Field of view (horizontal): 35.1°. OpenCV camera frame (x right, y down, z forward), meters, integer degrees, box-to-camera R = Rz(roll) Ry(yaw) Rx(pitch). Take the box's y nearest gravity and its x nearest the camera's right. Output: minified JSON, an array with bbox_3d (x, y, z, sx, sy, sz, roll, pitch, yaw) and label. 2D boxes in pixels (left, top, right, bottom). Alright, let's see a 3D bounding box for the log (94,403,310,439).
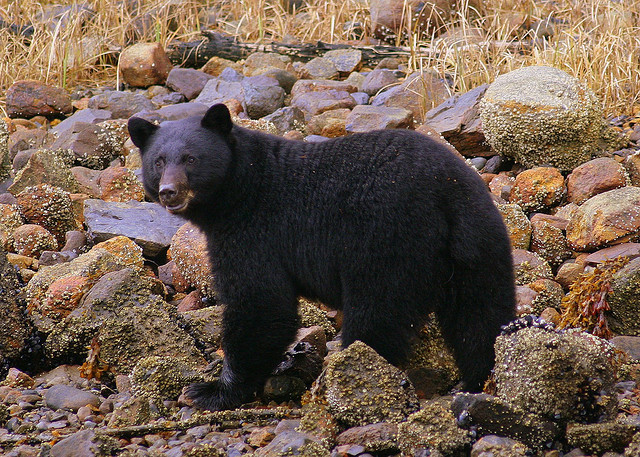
[{"bbox_3d":[-1.086,1.762,9.249,1.739,0.203,0.166,-4,30,0],"label":"log"}]
